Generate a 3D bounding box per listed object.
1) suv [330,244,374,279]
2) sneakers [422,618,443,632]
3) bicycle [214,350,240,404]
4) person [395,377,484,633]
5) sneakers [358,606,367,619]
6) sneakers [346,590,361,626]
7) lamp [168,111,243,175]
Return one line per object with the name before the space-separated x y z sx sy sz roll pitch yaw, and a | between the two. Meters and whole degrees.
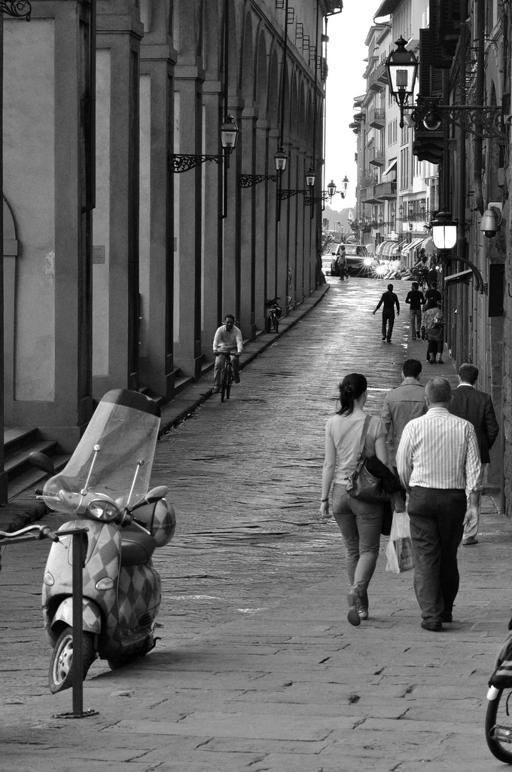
suv | 5.190 -6.486 76.669 1.487 1.617 2.902 0 1 0
sneakers | 0.918 1.232 7.808 0.111 0.074 0.138 3 6 8
bicycle | -0.486 -0.196 24.201 0.281 0.778 0.899 2 6 8
person | 0.959 0.623 7.927 0.448 1.301 0.490 2 5 7
sneakers | 0.581 1.228 8.195 0.058 0.090 0.184 -1 -8 4
sneakers | 0.517 1.187 8.017 0.057 0.207 0.077 -5 -8 30
lamp | -0.818 -3.863 24.074 1.062 1.308 0.309 5 -32 2
